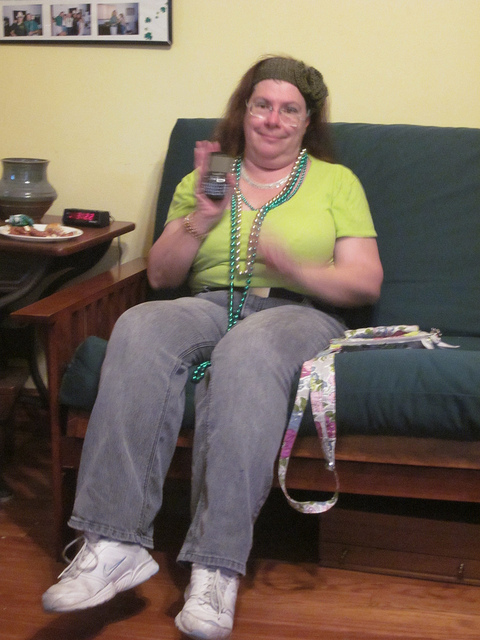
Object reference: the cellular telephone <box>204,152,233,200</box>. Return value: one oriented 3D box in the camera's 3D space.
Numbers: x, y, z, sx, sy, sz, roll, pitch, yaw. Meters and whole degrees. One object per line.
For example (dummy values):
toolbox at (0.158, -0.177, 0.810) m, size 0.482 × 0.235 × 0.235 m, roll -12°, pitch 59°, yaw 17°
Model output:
cellular telephone at (-0.047, -0.292, 1.223) m, size 0.052 × 0.093 × 0.045 m, roll 0°, pitch 13°, yaw -3°

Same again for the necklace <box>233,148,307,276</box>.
necklace at (0.074, -0.253, 1.386) m, size 0.108 × 0.302 × 0.014 m, roll 1°, pitch -31°, yaw 39°

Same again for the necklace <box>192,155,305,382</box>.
necklace at (0.012, -0.117, 1.290) m, size 0.151 × 0.511 × 0.033 m, roll 23°, pitch -18°, yaw -34°

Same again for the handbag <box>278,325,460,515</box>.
handbag at (0.264, 0.190, 1.106) m, size 0.327 × 0.217 × 0.394 m, roll 22°, pitch 8°, yaw 4°

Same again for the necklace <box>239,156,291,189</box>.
necklace at (0.056, -0.337, 1.396) m, size 0.082 × 0.077 × 0.016 m, roll -10°, pitch -22°, yaw -7°

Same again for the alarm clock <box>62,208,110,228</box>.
alarm clock at (-0.432, -0.283, 1.675) m, size 0.128 × 0.048 × 0.071 m, roll -2°, pitch 13°, yaw -13°
